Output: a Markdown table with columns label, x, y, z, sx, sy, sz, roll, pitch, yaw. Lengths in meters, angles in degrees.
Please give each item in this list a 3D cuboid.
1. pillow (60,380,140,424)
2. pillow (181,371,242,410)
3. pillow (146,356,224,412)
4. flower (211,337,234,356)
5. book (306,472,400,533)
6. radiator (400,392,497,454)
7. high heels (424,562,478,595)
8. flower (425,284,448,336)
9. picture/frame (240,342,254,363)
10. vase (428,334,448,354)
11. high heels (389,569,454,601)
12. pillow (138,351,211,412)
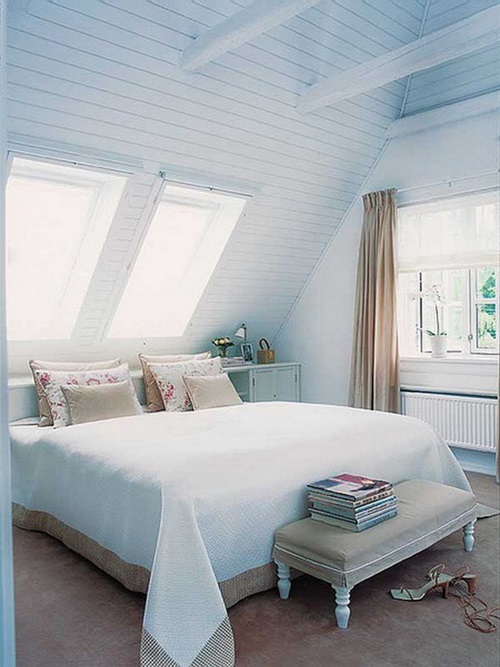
| label | x | y | z | sx | sy | sz | roll | pitch | yaw |
| --- | --- | --- | --- | --- | --- | --- | --- | --- | --- |
| pillow | -0.864 | 0.392 | 3.010 | 0.498 | 0.252 | 0.141 | -2 | -2 | -44 |
| pillow | -0.255 | 0.372 | 3.390 | 0.098 | 0.209 | 0.360 | -38 | -23 | 32 |
| pillow | -0.451 | 0.328 | 3.441 | 0.142 | 0.311 | 0.491 | -33 | -16 | 34 |
| flower | -0.250 | 0.113 | 4.642 | 0.183 | 0.168 | 0.170 | -1 | -2 | -14 |
| book | 0.366 | 0.609 | 1.941 | 0.202 | 0.098 | 0.220 | -2 | 0 | 45 |
| radiator | 1.420 | 0.621 | 3.550 | 0.541 | 0.287 | 0.039 | 1 | 4 | 45 |
| high heels | 0.759 | 0.953 | 1.985 | 0.211 | 0.079 | 0.091 | 5 | 10 | 44 |
| flower | 1.514 | -0.185 | 4.156 | 0.151 | 0.411 | 0.220 | -1 | -2 | 20 |
| picture/frame | -0.017 | 0.174 | 4.779 | 0.109 | 0.163 | 0.055 | 5 | -19 | -27 |
| vase | 1.518 | 0.090 | 4.144 | 0.140 | 0.171 | 0.116 | -2 | -2 | 34 |
| high heels | 0.649 | 0.946 | 1.967 | 0.277 | 0.109 | 0.091 | 6 | -8 | -17 |
| pillow | -0.433 | 0.347 | 3.585 | 0.643 | 0.371 | 0.214 | -4 | 10 | -35 |
